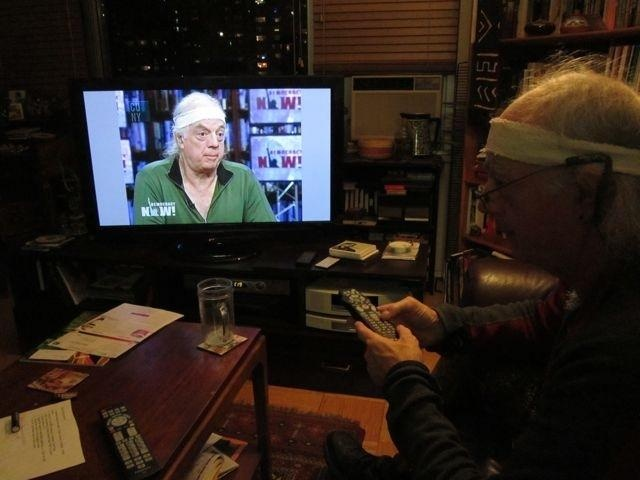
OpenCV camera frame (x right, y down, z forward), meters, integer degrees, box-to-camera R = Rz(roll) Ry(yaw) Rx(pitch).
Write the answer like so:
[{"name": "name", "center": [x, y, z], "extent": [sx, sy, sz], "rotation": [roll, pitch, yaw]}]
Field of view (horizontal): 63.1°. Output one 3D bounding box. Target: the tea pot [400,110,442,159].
[{"name": "tea pot", "center": [0.579, -0.615, 3.065], "extent": [0.309, 0.303, 0.192], "rotation": [-1, 22, 6]}]

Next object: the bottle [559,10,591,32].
[{"name": "bottle", "center": [1.173, -0.984, 2.409], "extent": [0.125, 0.123, 0.126], "rotation": [5, 19, 14]}]

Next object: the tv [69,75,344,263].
[{"name": "tv", "center": [-0.579, -0.379, 2.687], "extent": [0.942, 0.683, 0.316], "rotation": [0, 13, -2]}]

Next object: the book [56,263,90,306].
[{"name": "book", "center": [-1.353, 0.250, 2.850], "extent": [0.049, 0.212, 0.212], "rotation": [-24, 15, 10]}]
